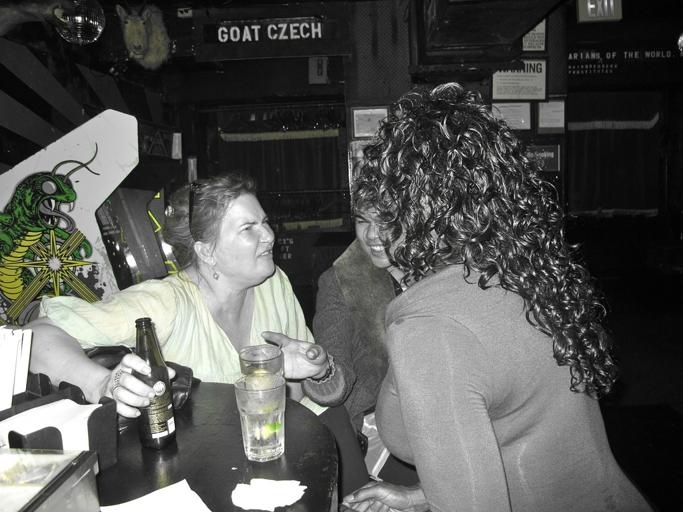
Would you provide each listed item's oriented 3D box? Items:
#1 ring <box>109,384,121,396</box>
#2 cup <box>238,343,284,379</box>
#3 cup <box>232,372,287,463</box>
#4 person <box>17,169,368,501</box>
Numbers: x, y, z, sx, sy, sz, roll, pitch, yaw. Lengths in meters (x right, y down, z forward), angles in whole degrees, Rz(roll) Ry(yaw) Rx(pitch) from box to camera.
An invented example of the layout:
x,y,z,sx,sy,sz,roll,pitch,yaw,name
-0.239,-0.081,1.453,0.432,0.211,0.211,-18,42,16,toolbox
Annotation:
x,y,z,sx,sy,sz,roll,pitch,yaw,name
-0.765,0.453,1.929,0.035,0.050,0.018,-19,-43,41,ring
-0.289,0.384,2.050,0.114,0.139,0.123,-1,10,0,cup
-0.267,0.530,1.904,0.165,0.244,0.186,1,14,-7,cup
-0.765,0.312,2.653,1.019,1.961,0.733,-27,15,-33,person
